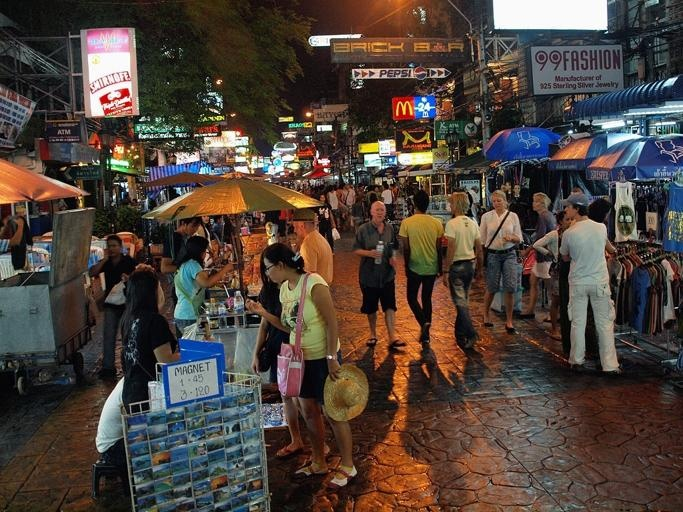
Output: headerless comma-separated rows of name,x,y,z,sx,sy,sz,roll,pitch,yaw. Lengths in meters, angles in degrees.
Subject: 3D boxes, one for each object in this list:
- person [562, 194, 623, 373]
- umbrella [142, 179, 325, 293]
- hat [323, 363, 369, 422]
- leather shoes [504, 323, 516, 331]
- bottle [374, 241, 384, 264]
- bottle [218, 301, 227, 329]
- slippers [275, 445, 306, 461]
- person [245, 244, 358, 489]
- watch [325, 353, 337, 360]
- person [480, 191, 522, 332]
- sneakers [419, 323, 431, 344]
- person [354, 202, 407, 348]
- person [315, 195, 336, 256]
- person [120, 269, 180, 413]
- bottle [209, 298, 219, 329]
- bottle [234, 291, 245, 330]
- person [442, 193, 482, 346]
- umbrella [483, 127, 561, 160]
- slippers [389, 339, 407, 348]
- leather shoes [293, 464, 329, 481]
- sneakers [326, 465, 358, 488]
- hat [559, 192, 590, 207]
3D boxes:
person,3.201,0.343,6.796,0.700,2.267,0.404,1,7,29
umbrella,-1.339,-0.385,6.705,1.620,1.148,1.660,-5,3,-5
hat,0.058,1.180,4.489,0.414,0.492,0.199,-7,8,-29
leather shoes,2.814,1.172,8.781,0.161,0.111,0.287,-1,8,17
bottle,0.591,-0.052,8.110,0.177,0.335,0.095,-9,9,-42
bottle,-1.391,0.688,6.203,0.101,0.275,0.123,-4,7,-14
slippers,-0.502,1.923,5.184,0.186,0.065,0.106,-1,2,-18
person,-0.310,0.932,4.656,0.773,2.124,0.408,1,7,27
watch,-0.074,0.844,4.454,0.066,0.047,0.068,1,-2,-11
person,2.674,0.063,8.842,0.653,2.306,0.745,-4,7,-12
sneakers,1.327,1.227,8.366,0.116,0.380,0.144,8,-4,8
person,0.577,0.270,8.441,0.717,2.284,0.895,-2,7,2
person,-0.517,-0.969,17.123,0.642,2.127,0.660,-6,16,-5
person,-1.688,0.672,4.527,0.456,1.070,0.571,-7,8,-31
bottle,-1.508,0.696,6.260,0.100,0.258,0.257,-4,7,-14
bottle,-1.218,0.647,6.323,0.138,0.366,0.353,-4,7,-11
person,1.872,0.184,8.195,0.497,2.328,0.794,-1,7,13
umbrella,4.430,-2.534,12.189,2.093,0.756,2.134,-4,10,-16
slippers,0.890,1.349,8.222,0.275,0.110,0.161,-10,11,-42
leather shoes,-0.283,1.952,4.773,0.228,0.100,0.133,4,-3,-1
sneakers,0.011,1.917,4.609,0.114,0.104,0.248,-3,3,25
hat,3.082,-0.750,6.918,0.275,0.155,0.194,3,10,25
